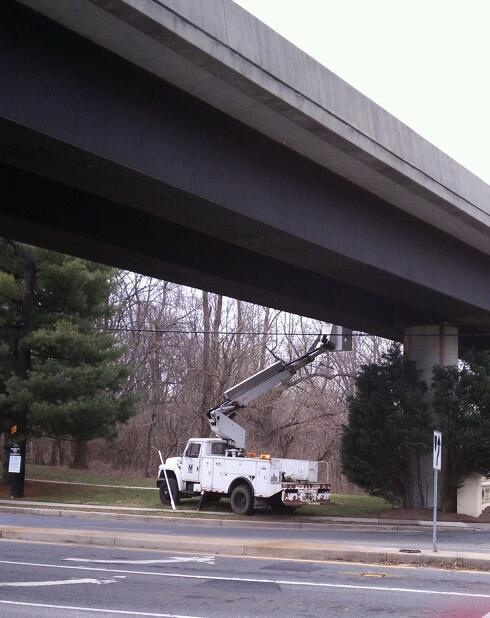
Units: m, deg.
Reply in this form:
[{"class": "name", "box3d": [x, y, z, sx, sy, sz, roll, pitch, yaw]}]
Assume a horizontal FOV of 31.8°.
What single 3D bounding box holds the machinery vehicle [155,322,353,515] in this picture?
[{"class": "machinery vehicle", "box3d": [0.216, 3.370, 25.078, 2.471, 4.818, 6.628, 8, -12, -44]}]
